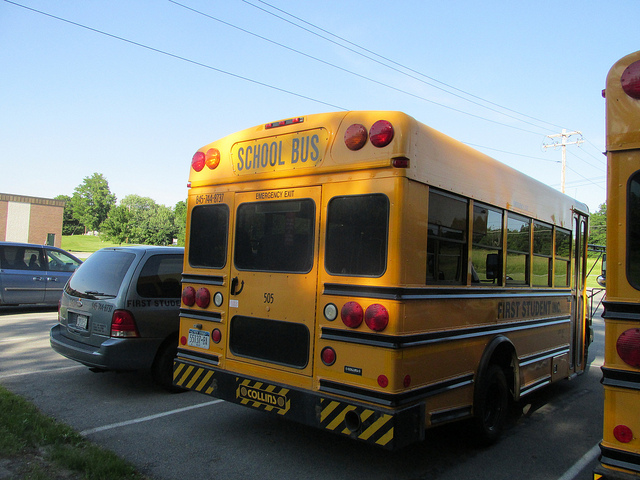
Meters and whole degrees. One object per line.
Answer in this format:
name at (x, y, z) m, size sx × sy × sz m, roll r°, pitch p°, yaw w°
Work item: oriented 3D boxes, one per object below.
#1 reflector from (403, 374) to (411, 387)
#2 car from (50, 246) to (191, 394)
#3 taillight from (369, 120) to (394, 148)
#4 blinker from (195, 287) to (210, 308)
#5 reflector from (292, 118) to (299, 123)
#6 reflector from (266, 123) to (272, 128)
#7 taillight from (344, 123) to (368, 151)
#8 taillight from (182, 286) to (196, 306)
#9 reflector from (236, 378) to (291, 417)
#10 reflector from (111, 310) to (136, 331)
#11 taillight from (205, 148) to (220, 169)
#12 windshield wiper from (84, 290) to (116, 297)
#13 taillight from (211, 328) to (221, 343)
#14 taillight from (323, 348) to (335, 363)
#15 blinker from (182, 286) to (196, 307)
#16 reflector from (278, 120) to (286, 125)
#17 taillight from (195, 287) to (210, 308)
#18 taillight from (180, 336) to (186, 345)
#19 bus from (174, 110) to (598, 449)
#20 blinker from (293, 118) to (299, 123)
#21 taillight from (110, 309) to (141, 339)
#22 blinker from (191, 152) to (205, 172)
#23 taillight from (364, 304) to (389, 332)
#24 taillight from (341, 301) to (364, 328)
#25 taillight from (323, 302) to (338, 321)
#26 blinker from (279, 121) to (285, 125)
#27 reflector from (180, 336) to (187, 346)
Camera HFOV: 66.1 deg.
reflector at (0.829, 1.346, 4.705) m, size 0.014 × 0.114 × 0.107 m, roll 2°, pitch -15°, yaw 36°
car at (-2.392, 1.178, 8.666) m, size 1.931 × 2.116 × 4.037 m, roll 0°, pitch -1°, yaw 31°
taillight at (0.617, -1.048, 4.854) m, size 0.229 × 0.291 × 0.038 m, roll -14°, pitch -14°, yaw 42°
blinker at (-1.413, 0.705, 5.989) m, size 0.229 × 0.284 × 0.136 m, roll 2°, pitch 2°, yaw 38°
reflector at (-0.266, -1.323, 5.414) m, size 0.052 × 0.040 × 0.030 m, roll -1°, pitch -3°, yaw 10°
reflector at (-0.579, -1.313, 5.626) m, size 0.040 × 0.023 × 0.044 m, roll -2°, pitch -5°, yaw 0°
taillight at (0.378, -1.044, 4.995) m, size 0.226 × 0.285 × 0.037 m, roll -13°, pitch -15°, yaw 36°
taillight at (-1.617, 0.699, 6.128) m, size 0.076 × 0.167 × 0.182 m, roll 1°, pitch 38°, yaw -45°
reflector at (-0.615, 1.682, 5.317) m, size 0.765 × 0.325 × 0.028 m, roll 4°, pitch 1°, yaw 35°
reflector at (-2.678, 1.100, 6.746) m, size 0.220 × 0.286 × 0.282 m, roll 0°, pitch 2°, yaw -37°
taillight at (-1.322, -1.019, 6.122) m, size 0.026 × 0.212 × 0.195 m, roll -1°, pitch 20°, yaw -44°
windshield wiper at (-3.102, 0.758, 6.966) m, size 0.607 × 0.068 × 0.044 m, roll 4°, pitch 1°, yaw 30°
taillight at (-1.222, 1.138, 5.853) m, size 0.023 × 0.181 × 0.165 m, roll -5°, pitch 7°, yaw -35°
taillight at (0.095, 1.173, 4.980) m, size 0.019 × 0.156 × 0.142 m, roll 1°, pitch -4°, yaw -37°
blinker at (-1.623, 0.699, 6.131) m, size 0.074 × 0.169 × 0.184 m, roll 5°, pitch 37°, yaw -45°
reflector at (-0.416, -1.318, 5.531) m, size 0.044 × 0.048 × 0.012 m, roll 1°, pitch -4°, yaw 28°
taillight at (-1.413, 0.704, 5.990) m, size 0.232 × 0.288 × 0.138 m, roll 2°, pitch 2°, yaw 38°
taillight at (-1.696, 1.255, 6.141) m, size 0.016 × 0.122 × 0.110 m, roll -5°, pitch 3°, yaw -35°
bus at (1.788, 0.672, 8.151) m, size 4.078 × 3.659 × 7.171 m, roll 0°, pitch -4°, yaw 45°
blinker at (-0.260, -1.319, 5.408) m, size 0.083 × 0.042 × 0.011 m, roll 4°, pitch 1°, yaw 36°
taillight at (-2.653, 1.145, 6.738) m, size 0.284 × 0.395 × 0.394 m, roll 1°, pitch 2°, yaw -21°
blinker at (-1.540, -0.995, 6.262) m, size 0.154 × 0.204 × 0.154 m, roll 3°, pitch 1°, yaw -15°
taillight at (0.553, 0.746, 4.693) m, size 0.224 × 0.266 × 0.035 m, roll 8°, pitch -9°, yaw 26°
taillight at (0.326, 0.735, 4.847) m, size 0.245 × 0.241 × 0.044 m, roll 4°, pitch 1°, yaw 39°
taillight at (0.116, 0.730, 5.002) m, size 0.036 × 0.199 × 0.180 m, roll 5°, pitch -3°, yaw -41°
blinker at (-0.424, -1.320, 5.536) m, size 0.058 × 0.045 × 0.035 m, roll 1°, pitch 3°, yaw 17°
reflector at (-1.692, 1.254, 6.138) m, size 0.016 × 0.129 × 0.114 m, roll -7°, pitch 6°, yaw -39°
